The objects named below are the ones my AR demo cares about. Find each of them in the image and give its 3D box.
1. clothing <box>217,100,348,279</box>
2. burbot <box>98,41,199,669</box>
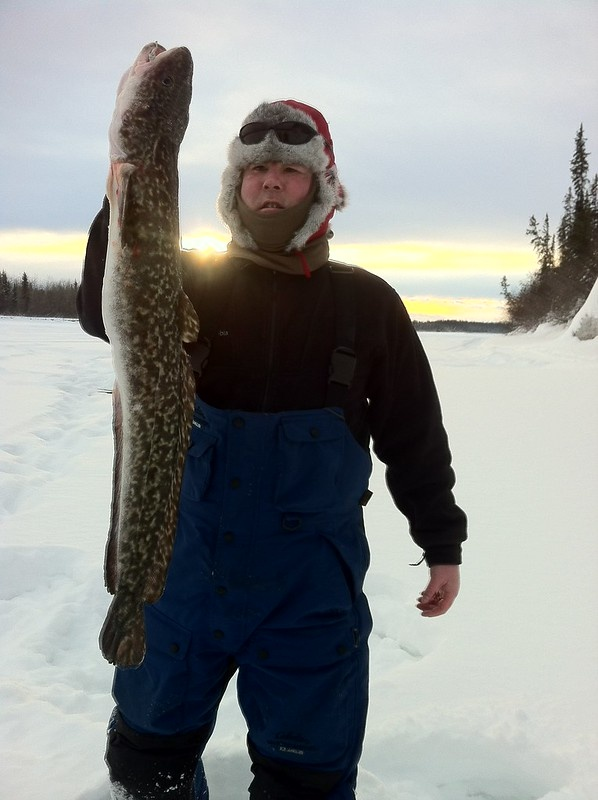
[{"bbox_3d":[-0.103,-0.899,3.501,0.564,0.613,0.399,0,-1,2],"label":"clothing"},{"bbox_3d":[-0.502,-0.175,2.804,0.316,2.091,0.529,1,8,-9],"label":"burbot"}]
